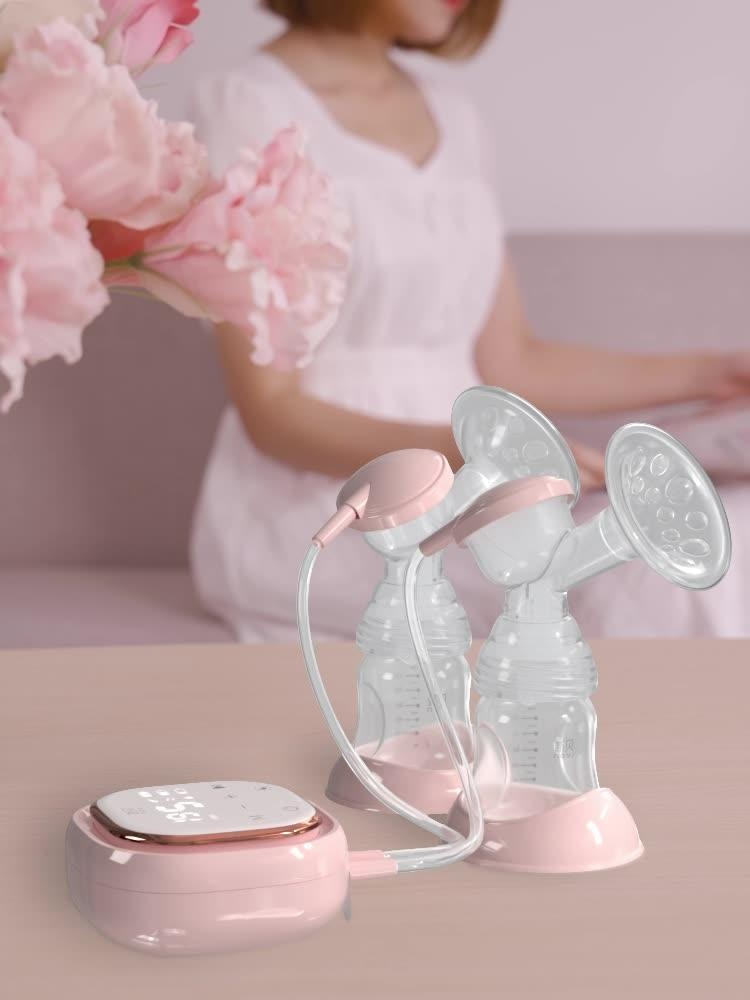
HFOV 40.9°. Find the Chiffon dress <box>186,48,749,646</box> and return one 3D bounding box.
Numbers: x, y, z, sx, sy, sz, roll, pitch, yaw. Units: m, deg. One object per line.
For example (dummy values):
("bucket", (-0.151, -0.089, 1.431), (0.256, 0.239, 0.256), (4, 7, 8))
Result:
("Chiffon dress", (0.003, -0.128, 1.339), (0.710, 0.793, 0.315), (-1, 21, -17))

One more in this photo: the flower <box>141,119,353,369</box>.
("flower", (-0.080, -0.229, 0.969), (0.150, 0.245, 0.248), (-16, 27, -35))

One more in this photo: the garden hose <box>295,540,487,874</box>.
("garden hose", (0.015, 0.100, 0.486), (0.111, 0.139, 0.097), (-5, 15, -10))
